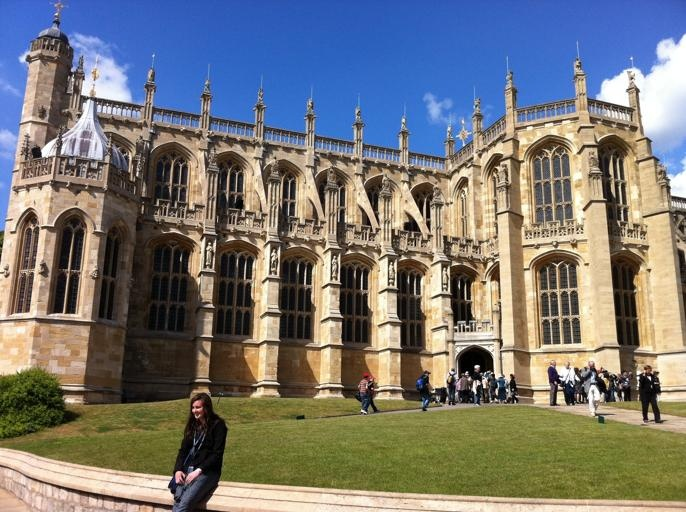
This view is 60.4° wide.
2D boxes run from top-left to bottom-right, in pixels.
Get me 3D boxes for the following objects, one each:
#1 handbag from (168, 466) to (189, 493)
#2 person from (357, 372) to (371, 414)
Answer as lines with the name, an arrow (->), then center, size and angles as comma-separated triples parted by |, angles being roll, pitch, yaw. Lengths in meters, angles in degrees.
handbag -> -3.205, 4.326, 11.253 | 0.430, 0.551, 0.236 | 2, -11, 25
person -> 0.981, 6.523, 27.879 | 0.502, 1.829, 1.041 | -1, -13, 1
